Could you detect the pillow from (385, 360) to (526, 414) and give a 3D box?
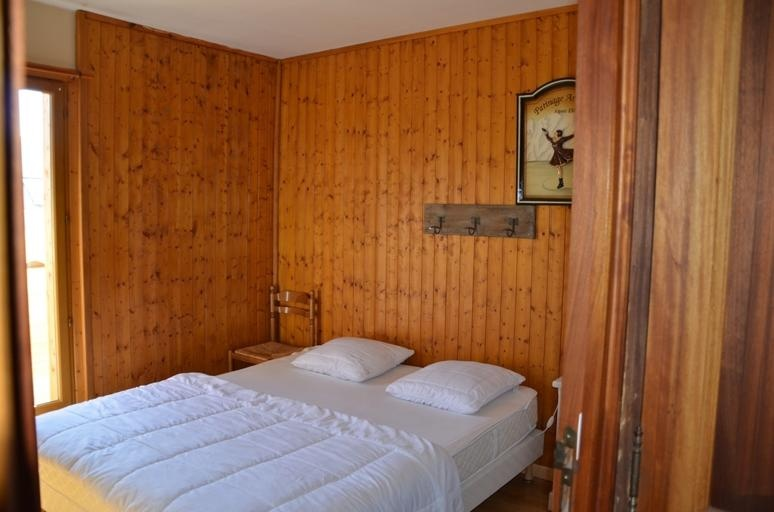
[{"bbox_3d":[0.477,0.822,3.985,0.445,0.125,0.431,-3,9,45],"label":"pillow"}]
